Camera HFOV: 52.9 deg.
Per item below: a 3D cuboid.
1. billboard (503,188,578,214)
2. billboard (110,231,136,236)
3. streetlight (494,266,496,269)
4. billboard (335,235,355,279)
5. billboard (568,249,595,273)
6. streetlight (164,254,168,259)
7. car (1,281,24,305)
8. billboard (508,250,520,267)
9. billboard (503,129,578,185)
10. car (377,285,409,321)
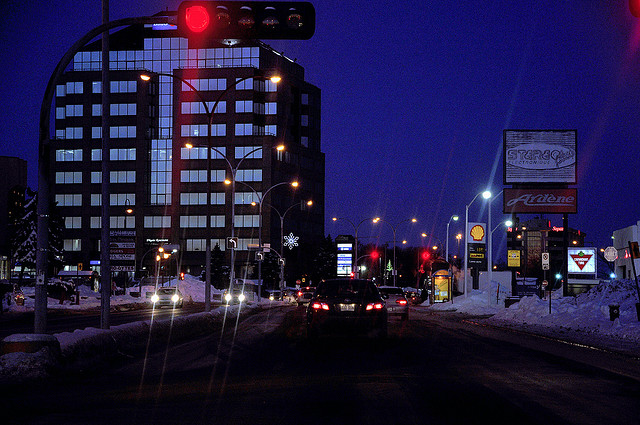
[{"bbox_3d":[20.489,-1.182,59.430,6.270,2.686,1.723,-1,-6,10],"label":"billboard"},{"bbox_3d":[-23.812,2.509,77.499,5.082,0.831,0.403,-1,0,18],"label":"billboard"},{"bbox_3d":[54.287,17.047,198.378,0.535,0.687,0.567,-4,-7,40],"label":"streetlight"},{"bbox_3d":[4.782,7.773,111.889,3.393,7.470,4.031,-1,-5,9],"label":"billboard"},{"bbox_3d":[24.680,4.634,60.719,3.328,0.894,6.029,10,11,19],"label":"billboard"},{"bbox_3d":[-15.671,4.485,65.390,0.472,0.556,0.513,-1,-2,4],"label":"streetlight"},{"bbox_3d":[-23.666,6.273,49.607,1.488,1.692,7.641,3,-8,-24],"label":"car"},{"bbox_3d":[18.560,4.431,61.348,1.252,1.986,0.964,0,-11,4],"label":"billboard"},{"bbox_3d":[21.155,-5.446,61.566,6.508,5.251,0.982,-1,-5,7],"label":"billboard"},{"bbox_3d":[4.131,5.109,34.831,1.412,1.215,3.332,1,-1,5],"label":"car"}]
